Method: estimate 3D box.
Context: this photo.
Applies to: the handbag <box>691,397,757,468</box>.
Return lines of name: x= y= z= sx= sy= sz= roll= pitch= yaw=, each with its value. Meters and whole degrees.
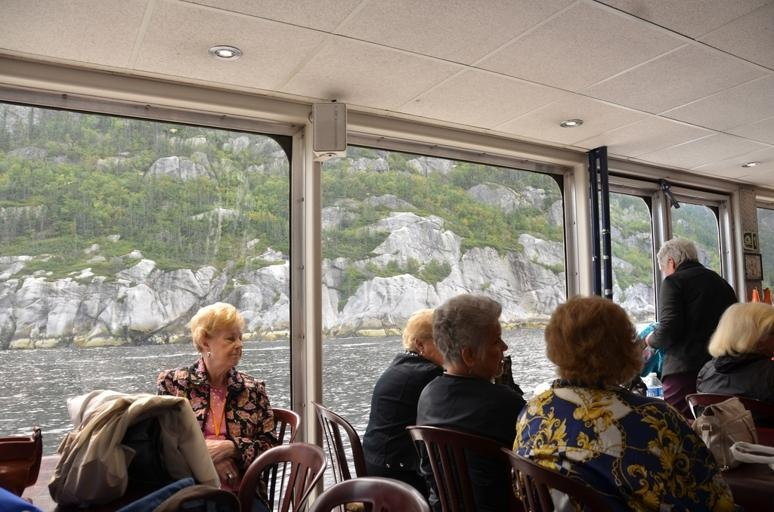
handbag: x=1.536 y=0.808 z=2.519 sx=0.142 sy=0.147 sz=0.275 roll=-39 pitch=-28 yaw=32

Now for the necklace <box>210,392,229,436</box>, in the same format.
necklace: x=-0.983 y=0.931 z=3.254 sx=0.178 sy=0.209 sz=0.075 roll=4 pitch=-9 yaw=-14

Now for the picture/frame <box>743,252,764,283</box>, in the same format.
picture/frame: x=4.278 y=0.129 z=6.521 sx=0.410 sy=0.375 sz=0.034 roll=-5 pitch=-3 yaw=-34
